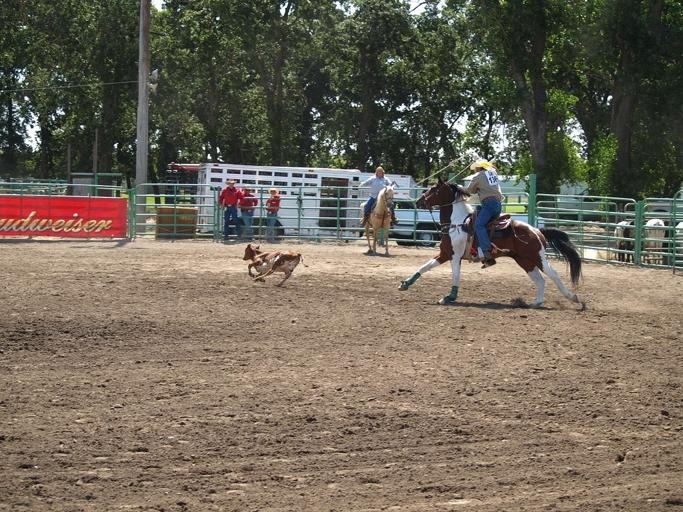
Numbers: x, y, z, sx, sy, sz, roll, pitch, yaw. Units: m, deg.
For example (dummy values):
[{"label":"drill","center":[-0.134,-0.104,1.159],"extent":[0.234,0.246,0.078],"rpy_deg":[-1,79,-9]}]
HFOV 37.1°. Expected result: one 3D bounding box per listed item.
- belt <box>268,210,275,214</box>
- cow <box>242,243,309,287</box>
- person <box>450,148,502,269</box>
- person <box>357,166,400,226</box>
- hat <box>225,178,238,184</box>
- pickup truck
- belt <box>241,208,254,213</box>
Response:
[{"label":"belt","center":[-2.257,-1.364,32.088],"extent":[0.227,0.065,0.645],"rpy_deg":[1,2,-3]},{"label":"cow","center":[-1.527,0.190,21.322],"extent":[1.075,0.809,1.509],"rpy_deg":[1,2,-11]},{"label":"person","center":[2.785,-0.849,20.147],"extent":[0.727,2.117,1.029],"rpy_deg":[2,2,7]},{"label":"person","center":[0.879,-1.674,28.762],"extent":[1.264,1.219,1.725],"rpy_deg":[1,-10,-9]},{"label":"hat","center":[-3.663,-2.406,32.879],"extent":[0.459,0.086,0.405],"rpy_deg":[4,10,8]},{"label":"pickup truck","center":[3.054,-0.770,24.175],"extent":[3.212,0.772,1.644],"rpy_deg":[1,5,-5]},{"label":"belt","center":[-3.018,-1.443,32.247],"extent":[0.200,0.101,0.181],"rpy_deg":[2,0,18]}]
